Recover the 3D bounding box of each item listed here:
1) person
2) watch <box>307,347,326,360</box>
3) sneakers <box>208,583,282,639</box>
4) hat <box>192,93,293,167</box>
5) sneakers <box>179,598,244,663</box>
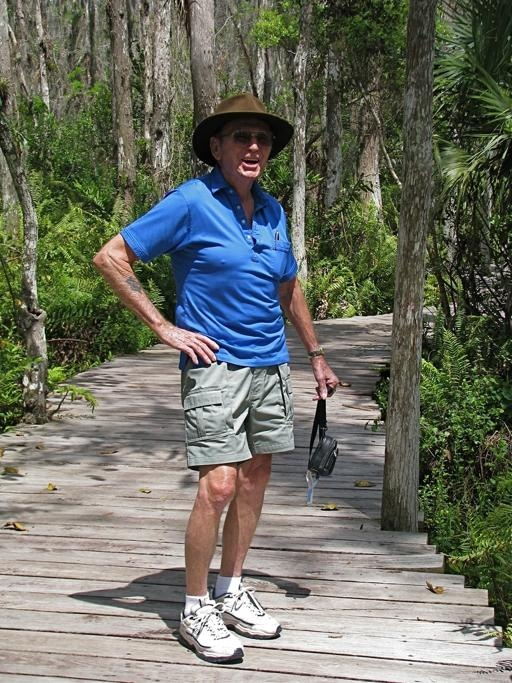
[{"bbox_3d":[-0.095,0.086,2.847,0.504,1.877,0.795,6,8,34],"label":"person"},{"bbox_3d":[0.242,0.039,3.221,0.059,0.021,0.057,-5,-11,-28],"label":"watch"},{"bbox_3d":[-0.038,0.932,2.871,0.304,0.130,0.107,12,17,30],"label":"sneakers"},{"bbox_3d":[-0.076,-0.740,2.833,0.292,0.125,0.316,3,-25,-9],"label":"hat"},{"bbox_3d":[-0.158,0.940,2.671,0.124,0.199,0.245,-4,8,-43],"label":"sneakers"}]
